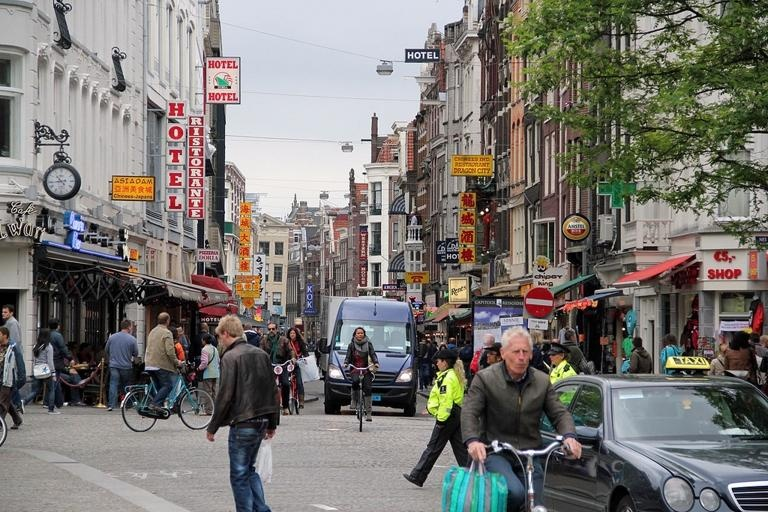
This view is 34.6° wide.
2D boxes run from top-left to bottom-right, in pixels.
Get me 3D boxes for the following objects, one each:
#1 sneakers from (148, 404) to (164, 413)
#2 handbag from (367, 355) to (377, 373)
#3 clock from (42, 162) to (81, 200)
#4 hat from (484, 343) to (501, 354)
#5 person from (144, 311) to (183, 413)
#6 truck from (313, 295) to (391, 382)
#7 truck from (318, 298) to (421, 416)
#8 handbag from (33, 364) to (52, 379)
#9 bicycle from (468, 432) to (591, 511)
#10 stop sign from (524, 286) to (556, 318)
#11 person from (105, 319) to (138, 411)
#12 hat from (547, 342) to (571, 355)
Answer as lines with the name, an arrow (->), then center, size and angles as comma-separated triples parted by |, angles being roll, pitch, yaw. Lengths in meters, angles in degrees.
sneakers -> -4.995, 3.291, 26.852 | 0.357, 0.130, 0.153 | 16, -29, -22
handbag -> -0.318, 2.681, 29.906 | 0.151, 0.355, 0.270 | -6, 20, 17
clock -> -8.691, -2.000, 32.823 | 1.125, 1.131, 0.339 | 0, -1, -2
hat -> 1.902, 1.542, 21.125 | 0.271, 0.142, 0.167 | 14, -6, -7
person -> -5.069, 2.369, 27.870 | 0.881, 2.342, 1.053 | 5, -2, -35
truck -> -0.363, 2.470, 35.513 | 1.695, 1.973, 3.505 | 0, -7, 0
truck -> -0.333, 2.731, 35.856 | 1.968, 2.221, 4.095 | 0, -7, 1
handbag -> -8.139, 2.692, 29.270 | 0.441, 0.354, 0.254 | 2, -5, -25
bicycle -> 1.532, 2.340, 13.363 | 0.722, 0.718, 1.169 | 3, -9, -28
stop sign -> 3.761, 1.104, 29.969 | 0.663, 0.759, 0.661 | 0, -5, 4
person -> -6.581, 2.582, 30.665 | 0.780, 2.191, 0.715 | 4, 16, -10
hat -> 3.207, 1.671, 22.488 | 0.457, 0.200, 0.497 | 0, -1, 31
